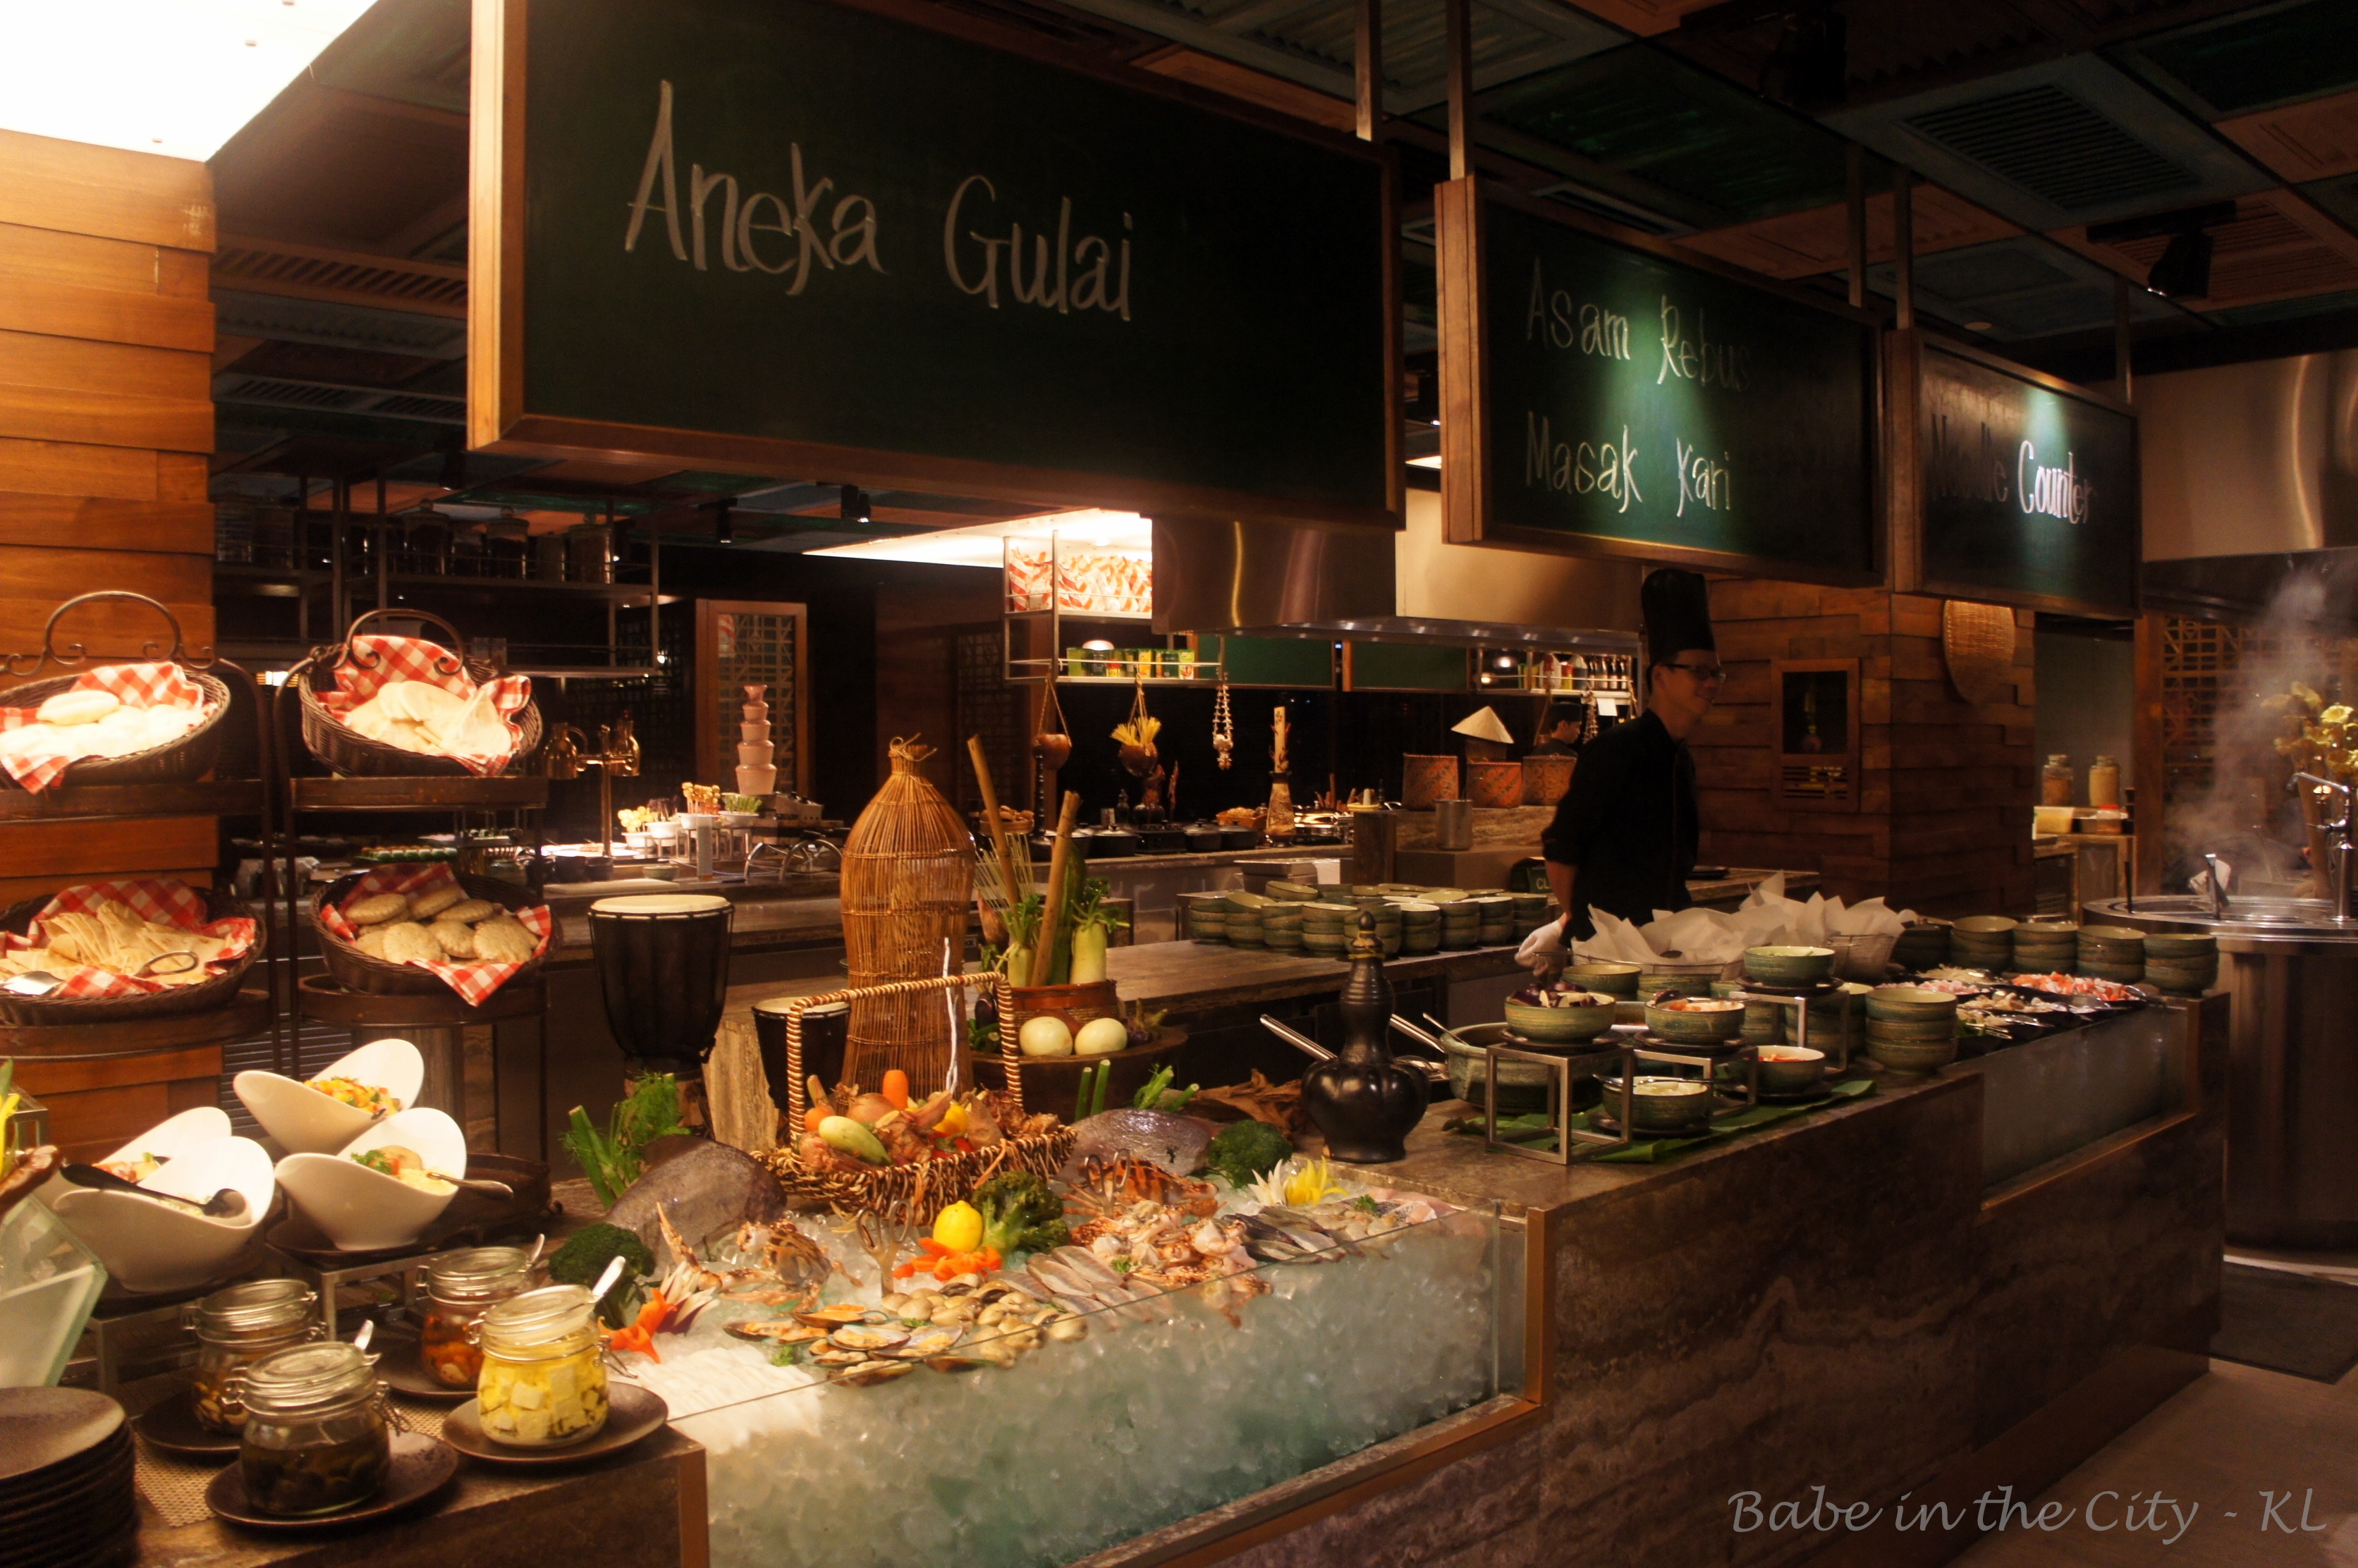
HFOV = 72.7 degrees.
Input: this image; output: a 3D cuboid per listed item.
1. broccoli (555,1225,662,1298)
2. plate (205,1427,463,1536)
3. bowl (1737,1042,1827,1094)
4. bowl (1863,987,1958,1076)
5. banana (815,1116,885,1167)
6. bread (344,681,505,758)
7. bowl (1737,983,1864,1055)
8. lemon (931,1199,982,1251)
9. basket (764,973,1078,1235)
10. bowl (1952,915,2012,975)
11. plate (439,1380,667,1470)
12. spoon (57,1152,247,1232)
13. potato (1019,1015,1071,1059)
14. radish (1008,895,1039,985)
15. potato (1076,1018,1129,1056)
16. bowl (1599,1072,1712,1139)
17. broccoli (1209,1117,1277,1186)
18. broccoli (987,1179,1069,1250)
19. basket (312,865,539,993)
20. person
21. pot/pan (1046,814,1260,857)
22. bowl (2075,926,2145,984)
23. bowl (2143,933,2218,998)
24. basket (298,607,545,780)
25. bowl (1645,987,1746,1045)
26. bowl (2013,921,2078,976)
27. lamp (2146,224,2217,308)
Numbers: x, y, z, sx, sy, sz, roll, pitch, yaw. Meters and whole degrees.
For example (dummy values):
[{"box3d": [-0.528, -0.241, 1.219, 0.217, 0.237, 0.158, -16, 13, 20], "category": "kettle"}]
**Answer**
[{"box3d": [-0.870, 0.705, 2.384, 0.091, 0.029, 0.093, 10, 2, 0], "category": "broccoli"}, {"box3d": [-1.072, 0.882, 2.013, 0.285, 0.052, 0.155, -1, 2, -22], "category": "plate"}, {"box3d": [1.363, 0.610, 3.590, 0.162, 0.061, 0.154, -1, -2, 0], "category": "bowl"}, {"box3d": [1.782, 0.588, 3.854, 0.197, 0.153, 0.200, 0, -4, 0], "category": "bowl"}, {"box3d": [-0.562, 0.604, 2.723, 0.114, 0.061, 0.039, 39, -11, -5], "category": "banana"}, {"box3d": [-1.307, -0.115, 2.769, 0.256, 0.135, 0.132, -2, 2, -28], "category": "bread"}, {"box3d": [1.524, 0.562, 3.879, 0.226, 0.200, 0.218, 0, 1, 0], "category": "bowl"}, {"box3d": [-0.360, 0.716, 2.608, 0.070, 0.078, 0.066, 8, -22, 4], "category": "lemon"}, {"box3d": [-0.472, 0.558, 2.952, 0.521, 0.377, 0.602, -1, 2, -5], "category": "basket"}, {"box3d": [2.483, 0.487, 4.937, 0.169, 0.113, 0.163, 1, 0, 0], "category": "bowl"}, {"box3d": [-0.839, 0.857, 2.137, 0.285, 0.049, 0.156, -1, 1, -18], "category": "plate"}, {"box3d": [-1.533, 0.598, 2.364, 0.366, 0.052, 0.095, 13, -13, 14], "category": "spoon"}, {"box3d": [-0.298, 0.557, 3.612, 0.102, 0.083, 0.085, -10, 12, -35], "category": "potato"}, {"box3d": [-0.363, 0.358, 3.733, 0.081, 0.195, 0.188, -1, 2, -5], "category": "radish"}, {"box3d": [-0.177, 0.566, 3.621, 0.125, 0.067, 0.104, -1, 2, -15], "category": "potato"}, {"box3d": [1.037, 0.659, 3.416, 0.206, 0.125, 0.408, 0, 2, 20], "category": "bowl"}, {"box3d": [0.130, 0.686, 3.007, 0.105, 0.045, 0.104, 1, 5, -2], "category": "broccoli"}, {"box3d": [-0.255, 0.709, 2.683, 0.123, 0.112, 0.101, -1, -8, -7], "category": "broccoli"}, {"box3d": [-1.293, 0.250, 2.748, 0.261, 0.088, 0.252, 8, 3, -32], "category": "basket"}, {"box3d": [1.416, 0.080, 5.083, 0.519, 1.082, 1.157, 0, 2, 33], "category": "person"}, {"box3d": [-0.046, 0.332, 9.647, 0.424, 0.149, 1.267, 0, 2, 41], "category": "pot/pan"}, {"box3d": [2.892, 0.524, 4.945, 0.164, 0.114, 0.169, 2, 2, 0], "category": "bowl"}, {"box3d": [3.107, 0.550, 4.938, 0.201, 0.151, 0.209, 0, -2, 0], "category": "bowl"}, {"box3d": [-1.322, -0.111, 2.831, 0.376, 0.181, 0.323, 5, 26, -43], "category": "basket"}, {"box3d": [1.163, 0.524, 3.577, 0.237, 0.082, 0.187, -2, 2, -41], "category": "bowl"}, {"box3d": [2.701, 0.506, 4.942, 0.154, 0.150, 0.157, 0, -2, 0], "category": "bowl"}, {"box3d": [3.211, -1.661, 5.119, 0.162, 0.259, 0.355, 0, 2, 31], "category": "lamp"}]
